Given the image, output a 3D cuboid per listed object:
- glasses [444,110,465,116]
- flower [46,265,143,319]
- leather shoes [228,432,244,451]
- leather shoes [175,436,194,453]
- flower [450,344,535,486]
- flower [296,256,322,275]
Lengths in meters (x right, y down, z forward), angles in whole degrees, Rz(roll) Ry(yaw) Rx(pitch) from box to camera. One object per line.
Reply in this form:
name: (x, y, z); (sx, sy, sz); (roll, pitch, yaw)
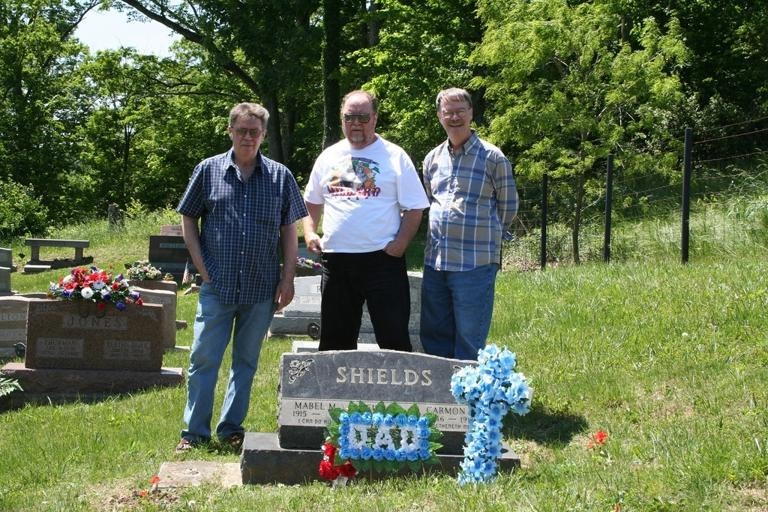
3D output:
glasses: (1.100, -2.239, 16.507); (0.293, 0.094, 0.061); (0, 0, -4)
flower: (-4.964, 0.627, 18.067); (1.546, 0.775, 0.541); (0, 0, -14)
leather shoes: (-2.295, 2.876, 16.153); (0.209, 0.103, 0.279); (7, 40, 16)
leather shoes: (-3.068, 2.901, 16.051); (0.176, 0.135, 0.272); (-1, 11, -16)
flower: (1.523, 2.283, 15.162); (1.093, 1.989, 0.362); (0, 0, 2)
flower: (-1.792, 0.340, 25.592); (0.537, 0.300, 0.762); (10, 0, 21)
